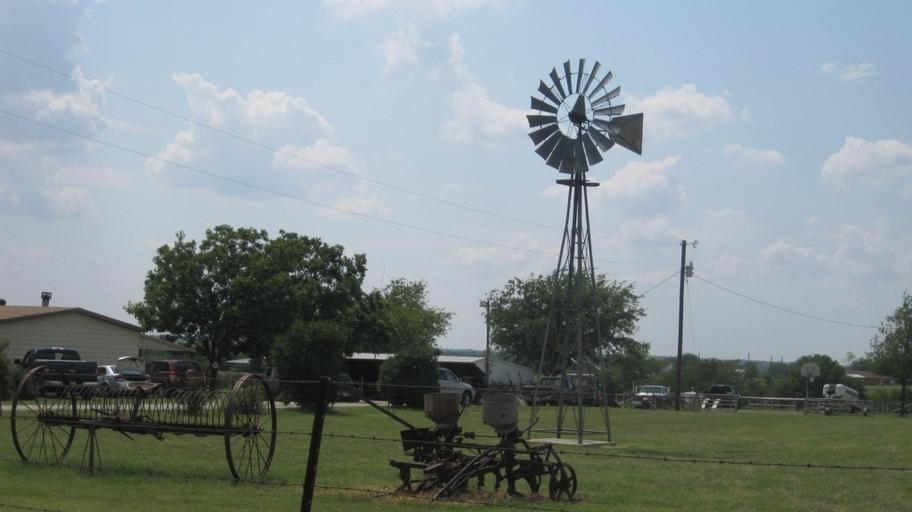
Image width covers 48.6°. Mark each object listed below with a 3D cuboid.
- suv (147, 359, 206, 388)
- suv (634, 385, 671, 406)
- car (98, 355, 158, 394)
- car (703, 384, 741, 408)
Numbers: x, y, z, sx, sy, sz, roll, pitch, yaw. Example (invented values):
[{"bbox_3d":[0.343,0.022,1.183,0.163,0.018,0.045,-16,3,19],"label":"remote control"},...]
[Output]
[{"bbox_3d":[-17.008,7.164,61.378,1.971,1.610,3.675,1,3,-41],"label":"suv"},{"bbox_3d":[15.828,11.081,81.362,2.423,1.689,3.442,-5,-14,25],"label":"suv"},{"bbox_3d":[-19.097,6.871,58.565,2.056,1.466,4.696,3,-2,-29],"label":"car"},{"bbox_3d":[20.895,11.009,79.789,2.567,2.199,8.151,-1,-11,17],"label":"car"}]
